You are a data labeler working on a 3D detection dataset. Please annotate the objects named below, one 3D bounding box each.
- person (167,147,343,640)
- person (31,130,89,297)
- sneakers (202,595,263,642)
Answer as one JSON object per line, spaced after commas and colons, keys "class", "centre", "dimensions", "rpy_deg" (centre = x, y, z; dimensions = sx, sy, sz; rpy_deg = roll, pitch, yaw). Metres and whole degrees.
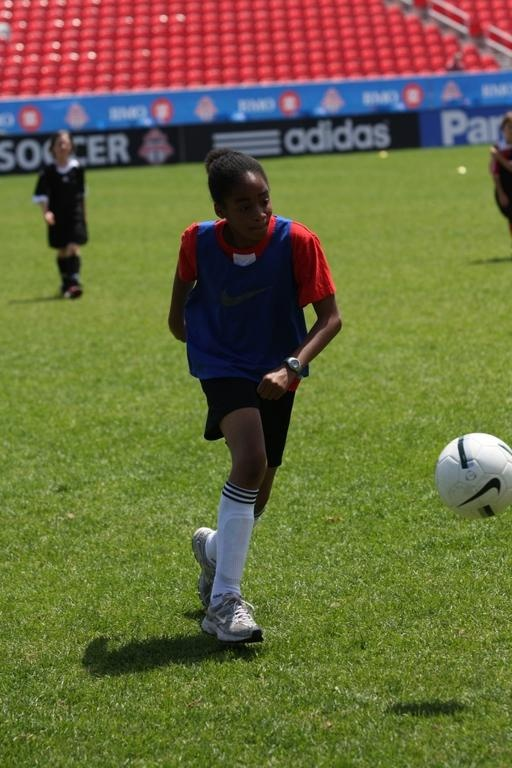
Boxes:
{"class": "person", "centre": [-0.132, 0.024, 3.035], "dimensions": [0.624, 1.490, 0.580], "rpy_deg": [7, 18, 33]}
{"class": "person", "centre": [-1.601, -1.375, 7.818], "dimensions": [0.428, 1.324, 0.539], "rpy_deg": [-6, 16, -10]}
{"class": "sneakers", "centre": [-0.076, 0.730, 2.932], "dimensions": [0.107, 0.156, 0.229], "rpy_deg": [-9, 16, -24]}
